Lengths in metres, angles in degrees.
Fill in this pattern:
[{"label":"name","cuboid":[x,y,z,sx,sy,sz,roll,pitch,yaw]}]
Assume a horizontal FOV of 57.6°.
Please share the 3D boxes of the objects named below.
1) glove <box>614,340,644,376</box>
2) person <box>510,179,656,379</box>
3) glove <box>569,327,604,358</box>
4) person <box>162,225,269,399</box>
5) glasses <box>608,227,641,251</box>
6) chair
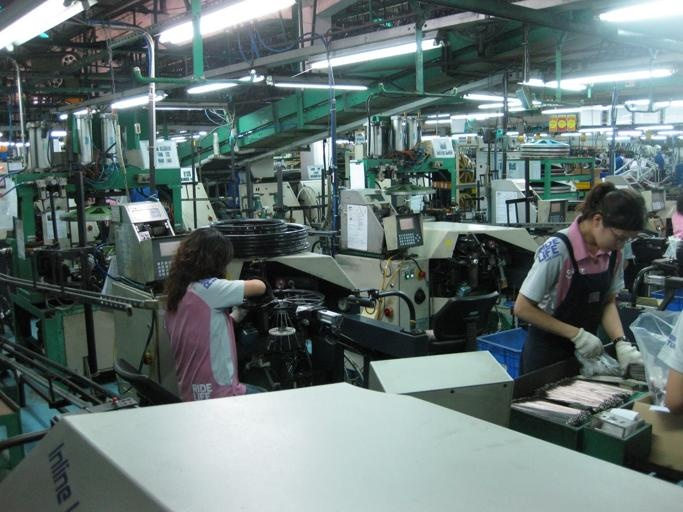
[{"label":"glove","cuboid":[1.235,0.429,2.651,0.119,0.121,0.032,-24,-30,37]},{"label":"person","cuboid":[1.050,0.126,2.727,0.542,0.904,0.586,2,8,5]},{"label":"glove","cuboid":[1.045,0.373,2.665,0.095,0.058,0.127,7,-2,-2]},{"label":"person","cuboid":[-0.635,0.286,3.075,0.428,0.840,0.308,5,8,24]},{"label":"glasses","cuboid":[1.185,-0.062,2.602,0.100,0.104,0.031,-4,-19,-36]},{"label":"chair","cuboid":[-0.857,0.545,2.646,0.325,0.160,0.150,6,9,28]}]
